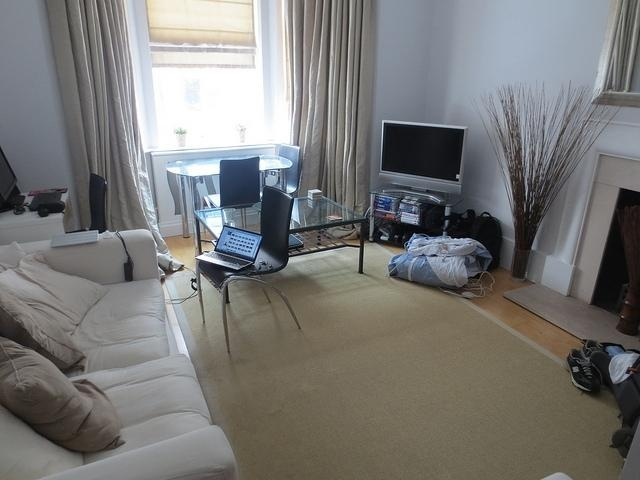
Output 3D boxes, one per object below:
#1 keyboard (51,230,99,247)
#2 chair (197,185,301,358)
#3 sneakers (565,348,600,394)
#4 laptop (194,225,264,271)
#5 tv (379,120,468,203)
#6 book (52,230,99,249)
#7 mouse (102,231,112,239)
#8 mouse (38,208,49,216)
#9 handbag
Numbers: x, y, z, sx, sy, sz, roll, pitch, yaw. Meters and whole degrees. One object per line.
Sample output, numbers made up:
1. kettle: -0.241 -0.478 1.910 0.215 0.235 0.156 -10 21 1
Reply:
1. keyboard: -1.626 -0.012 2.924 0.193 0.022 0.148 -11 22 -33
2. chair: -0.545 0.280 3.401 0.783 1.385 0.734 -8 25 -33
3. sneakers: 1.651 0.835 2.773 0.093 0.095 0.252 -4 20 3
4. laptop: -0.643 0.075 3.183 0.396 0.334 0.246 18 1 30
5. tv: 1.050 -0.792 4.393 0.716 0.598 0.200 16 29 32
6. book: -1.634 -0.011 2.920 0.192 0.022 0.149 -12 23 -31
7. mouse: -1.455 -0.033 2.991 0.055 0.016 0.058 0 22 -6
8. mouse: -2.037 -0.205 3.240 0.054 0.044 0.057 -7 27 -25
9. handbag: 1.509 -0.017 4.222 0.584 0.673 0.430 2 9 -12
